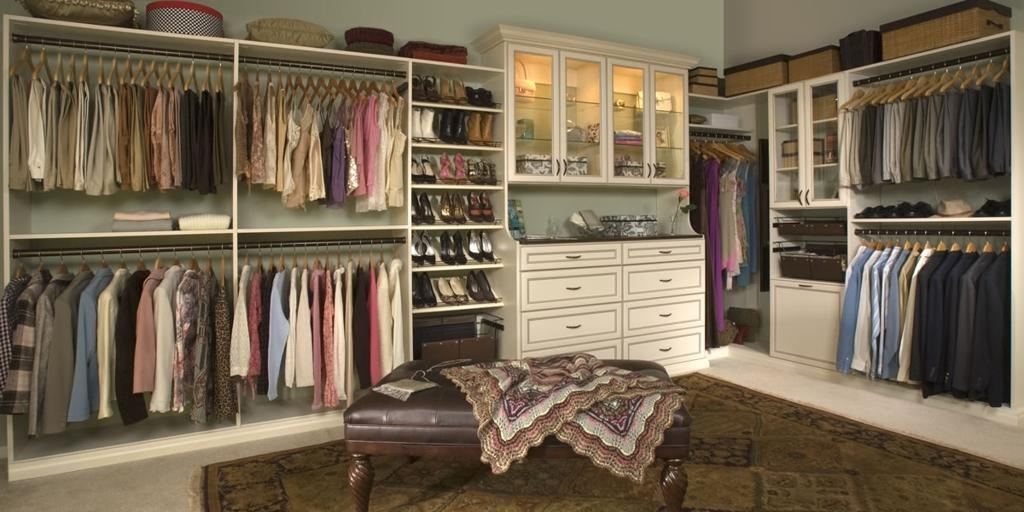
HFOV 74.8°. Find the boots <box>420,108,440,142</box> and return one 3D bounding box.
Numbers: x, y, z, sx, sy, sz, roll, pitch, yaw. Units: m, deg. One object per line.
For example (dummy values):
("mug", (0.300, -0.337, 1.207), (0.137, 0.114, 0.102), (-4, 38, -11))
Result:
("boots", (-0.929, -1.426, 7.342), (0.222, 0.336, 0.483), (-5, 12, -8))

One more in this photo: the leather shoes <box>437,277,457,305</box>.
("leather shoes", (-0.722, 0.374, 7.403), (0.147, 0.363, 0.105), (-10, -37, -30))

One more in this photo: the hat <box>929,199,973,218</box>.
("hat", (4.704, -0.509, 7.118), (0.323, 0.179, 0.142), (-2, 4, 28))

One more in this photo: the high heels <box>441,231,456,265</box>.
("high heels", (-0.698, -0.098, 7.367), (0.156, 0.365, 0.152), (-1, -32, -31))

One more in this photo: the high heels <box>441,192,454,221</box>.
("high heels", (-0.732, -0.554, 7.389), (0.129, 0.313, 0.135), (-2, -22, -9))

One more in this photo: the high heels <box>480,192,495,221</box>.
("high heels", (-0.294, -0.557, 7.571), (0.136, 0.338, 0.147), (-12, -14, -32))

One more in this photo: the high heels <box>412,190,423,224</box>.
("high heels", (-1.039, -0.522, 7.275), (0.135, 0.320, 0.118), (-4, -9, -30))

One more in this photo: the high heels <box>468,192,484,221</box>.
("high heels", (-0.404, -0.565, 7.520), (0.148, 0.328, 0.129), (-9, -22, -24))

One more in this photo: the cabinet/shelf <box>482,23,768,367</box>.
("cabinet/shelf", (0.994, -0.575, 7.864), (2.593, 4.041, 0.582), (-5, 3, -19))

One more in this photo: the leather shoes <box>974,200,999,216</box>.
("leather shoes", (5.014, -0.503, 7.000), (0.314, 0.160, 0.228), (-2, 3, 30))

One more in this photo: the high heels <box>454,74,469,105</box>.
("high heels", (-0.575, -1.842, 7.408), (0.133, 0.306, 0.099), (-11, -10, -16))

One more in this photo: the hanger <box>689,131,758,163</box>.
("hanger", (2.667, -1.391, 8.536), (0.701, 0.197, 0.473), (-2, 8, -20))

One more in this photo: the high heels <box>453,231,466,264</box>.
("high heels", (-0.570, -0.105, 7.389), (0.138, 0.350, 0.125), (-4, -17, -34))

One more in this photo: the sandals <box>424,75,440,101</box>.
("sandals", (-0.860, -1.858, 7.314), (0.135, 0.342, 0.124), (-9, -46, -16))

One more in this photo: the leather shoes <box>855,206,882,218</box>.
("leather shoes", (4.019, -0.501, 7.561), (0.260, 0.082, 0.129), (-2, 0, -26))

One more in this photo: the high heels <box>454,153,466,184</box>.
("high heels", (-0.585, -0.974, 7.464), (0.131, 0.331, 0.147), (1, -10, -16))

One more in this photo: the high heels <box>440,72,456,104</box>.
("high heels", (-0.715, -1.848, 7.336), (0.131, 0.307, 0.091), (-10, -14, -24))
